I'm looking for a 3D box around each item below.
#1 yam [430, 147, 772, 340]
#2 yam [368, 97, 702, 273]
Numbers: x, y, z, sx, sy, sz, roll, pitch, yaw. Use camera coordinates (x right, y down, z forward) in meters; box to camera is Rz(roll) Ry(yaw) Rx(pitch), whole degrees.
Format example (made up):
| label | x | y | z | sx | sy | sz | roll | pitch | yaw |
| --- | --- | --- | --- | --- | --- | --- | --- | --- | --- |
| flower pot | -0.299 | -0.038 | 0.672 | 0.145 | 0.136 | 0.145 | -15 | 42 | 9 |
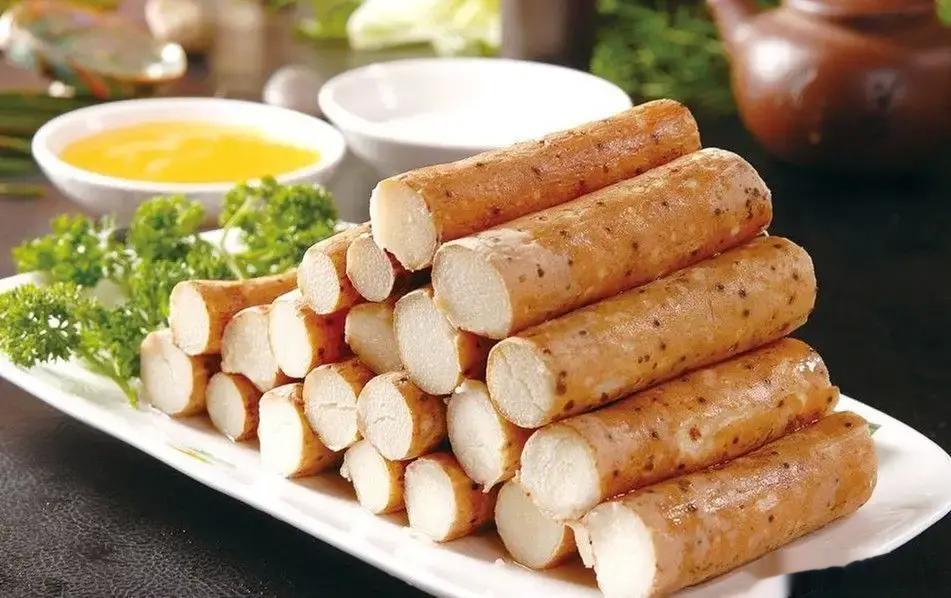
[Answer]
| label | x | y | z | sx | sy | sz | roll | pitch | yaw |
| --- | --- | --- | --- | --- | --- | --- | --- | --- | --- |
| yam | 0.210 | -0.092 | 1.342 | 0.655 | 0.185 | 0.235 | -21 | 38 | -18 |
| yam | 0.118 | -0.216 | 1.533 | 0.777 | 0.224 | 0.208 | -18 | 89 | -27 |
